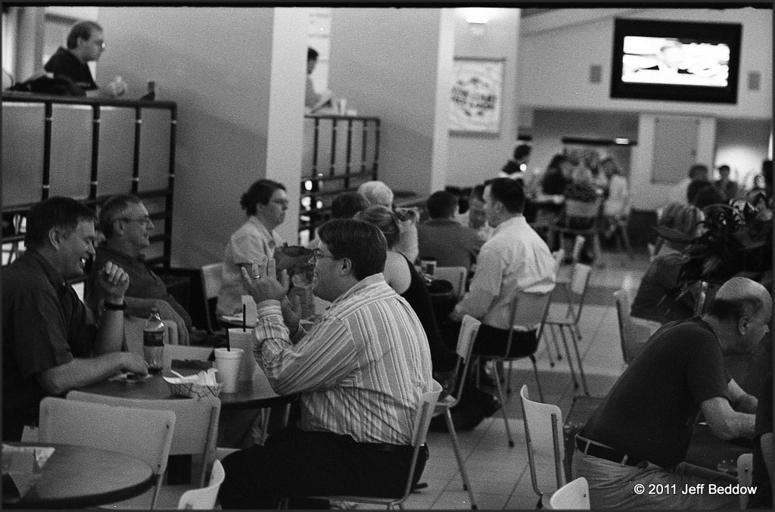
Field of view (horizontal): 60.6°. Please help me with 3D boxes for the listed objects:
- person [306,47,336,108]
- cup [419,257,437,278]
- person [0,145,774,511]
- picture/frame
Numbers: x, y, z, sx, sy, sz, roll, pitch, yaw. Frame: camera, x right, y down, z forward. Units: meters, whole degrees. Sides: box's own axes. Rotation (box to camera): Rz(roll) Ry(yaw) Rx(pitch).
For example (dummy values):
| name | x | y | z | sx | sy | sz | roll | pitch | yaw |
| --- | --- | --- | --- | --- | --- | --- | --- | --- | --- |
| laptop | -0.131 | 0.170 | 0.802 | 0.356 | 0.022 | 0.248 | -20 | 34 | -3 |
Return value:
| name | x | y | z | sx | sy | sz | roll | pitch | yaw |
| --- | --- | --- | --- | --- | --- | --- | --- | --- | --- |
| person | -0.840 | -2.042 | 7.624 | 0.296 | 0.727 | 0.612 | 5 | 5 | 14 |
| cup | 0.342 | 0.092 | 5.323 | 0.136 | 0.192 | 0.132 | 1 | 8 | 0 |
| person | 0.195 | 0.488 | 2.567 | 2.480 | 1.217 | 0.703 | 3 | 5 | -3 |
| picture/frame | 1.781 | -3.132 | 12.706 | 1.469 | 1.553 | 0.117 | -1 | 23 | -5 |
